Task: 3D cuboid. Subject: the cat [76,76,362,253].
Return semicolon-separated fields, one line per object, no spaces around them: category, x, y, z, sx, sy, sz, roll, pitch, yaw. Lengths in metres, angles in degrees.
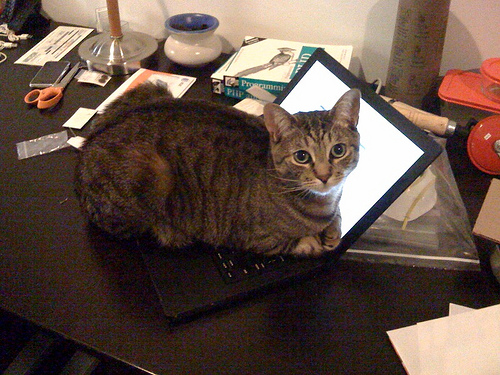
cat;-0.073;-0.022;1.122;0.633;0.319;0.366;8;54;5

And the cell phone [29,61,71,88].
cell phone;-0.720;-0.408;1.550;0.143;0.020;0.190;4;50;4

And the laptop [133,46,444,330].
laptop;-0.027;0.049;1.140;0.757;0.239;0.514;-15;20;-9

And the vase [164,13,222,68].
vase;-0.208;-0.523;1.561;0.204;0.135;0.193;13;34;18

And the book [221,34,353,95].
book;0.083;-0.441;1.458;0.407;0.075;0.273;12;43;19

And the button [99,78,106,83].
button;-0.528;-0.384;1.532;0.018;0.004;0.015;-1;66;-6

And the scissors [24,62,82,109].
scissors;-0.679;-0.357;1.477;0.090;0.022;0.164;14;48;24
